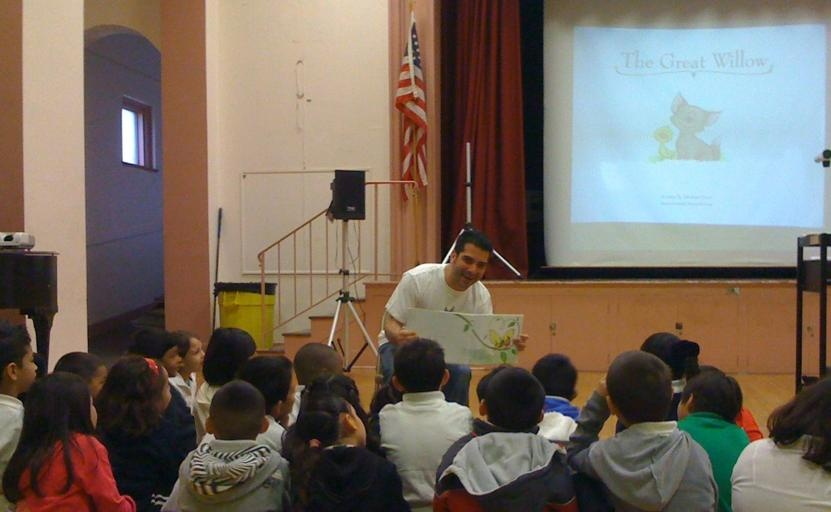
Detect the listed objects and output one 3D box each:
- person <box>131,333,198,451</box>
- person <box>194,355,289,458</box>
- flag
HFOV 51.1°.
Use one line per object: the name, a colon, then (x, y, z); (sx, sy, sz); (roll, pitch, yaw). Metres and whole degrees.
person: (-1.859, 0.990, 6.434); (0.442, 0.858, 0.501); (-8, 14, -17)
person: (-1.107, 0.867, 5.941); (0.688, 0.615, 0.540); (9, 20, 17)
flag: (-0.052, -1.595, 9.205); (0.326, 2.010, 0.289); (0, 1, 11)
